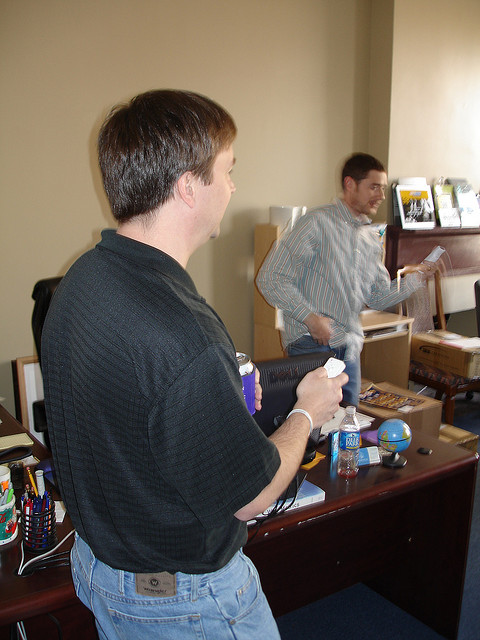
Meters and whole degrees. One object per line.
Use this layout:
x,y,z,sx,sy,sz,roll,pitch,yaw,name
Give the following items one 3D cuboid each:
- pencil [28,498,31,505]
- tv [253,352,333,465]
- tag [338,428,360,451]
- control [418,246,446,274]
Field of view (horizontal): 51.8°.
-0.426,0.366,0.996,0.004,0.011,0.006,1,-6,-5,pencil
0.141,0.239,1.517,0.190,0.248,0.261,0,-20,-23,tv
0.285,0.312,1.303,0.050,0.053,0.050,0,4,-1,tag
0.889,-0.293,2.249,0.073,0.078,0.145,-1,11,40,control
